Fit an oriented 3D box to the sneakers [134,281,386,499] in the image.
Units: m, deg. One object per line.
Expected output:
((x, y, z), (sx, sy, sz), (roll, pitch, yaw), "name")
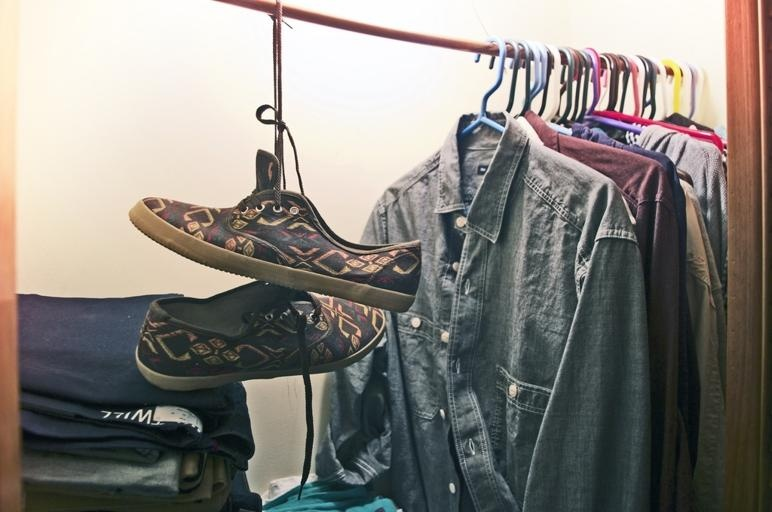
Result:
((-0.282, 0.206, 1.521), (0.560, 0.254, 0.180), (-1, -58, -30), "sneakers")
